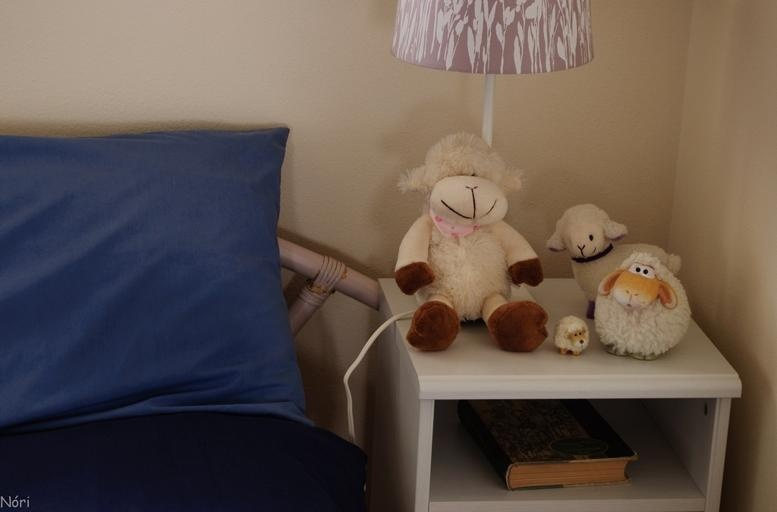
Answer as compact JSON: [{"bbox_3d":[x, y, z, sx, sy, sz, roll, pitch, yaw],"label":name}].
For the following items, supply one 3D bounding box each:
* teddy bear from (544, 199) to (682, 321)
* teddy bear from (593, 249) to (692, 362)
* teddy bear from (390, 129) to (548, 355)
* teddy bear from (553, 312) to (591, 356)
[{"bbox_3d":[0.507,0.017,1.483,0.308,0.254,0.178,-2,14,-2],"label":"teddy bear"},{"bbox_3d":[0.516,0.094,1.354,0.181,0.211,0.138,5,14,26],"label":"teddy bear"},{"bbox_3d":[0.145,-0.058,1.423,0.362,0.507,0.412,-2,13,-3],"label":"teddy bear"},{"bbox_3d":[0.365,0.157,1.339,0.058,0.069,0.081,0,8,1],"label":"teddy bear"}]
